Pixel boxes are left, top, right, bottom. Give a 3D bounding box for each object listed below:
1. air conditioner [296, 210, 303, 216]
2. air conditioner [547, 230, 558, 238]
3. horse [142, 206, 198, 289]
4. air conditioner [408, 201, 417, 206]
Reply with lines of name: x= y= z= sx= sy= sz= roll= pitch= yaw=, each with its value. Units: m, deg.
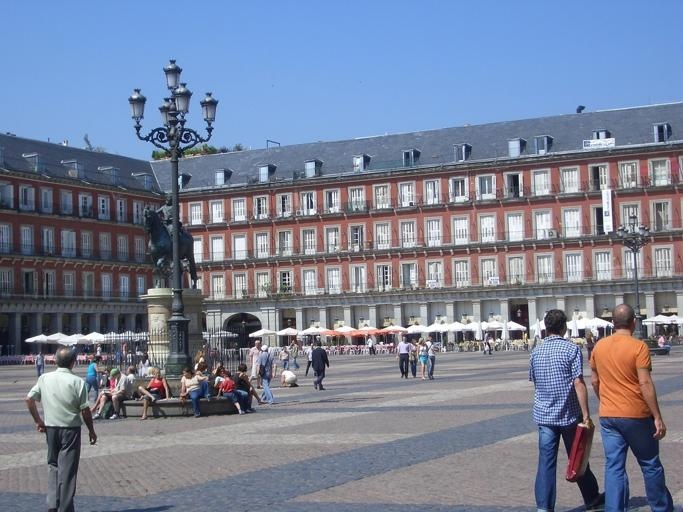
air conditioner: x=-3.278 y=-3.329 z=83.230 sx=0.404 sy=0.402 sz=0.397 roll=1 pitch=-2 yaw=19
air conditioner: x=14.721 y=-1.506 z=75.842 sx=0.596 sy=0.577 sz=0.578 roll=-1 pitch=-10 yaw=1
horse: x=-4.791 y=-0.423 z=29.933 sx=1.221 sy=2.823 sz=0.892 roll=0 pitch=-1 yaw=31
air conditioner: x=5.130 y=-3.857 z=79.545 sx=0.373 sy=0.524 sz=0.368 roll=-1 pitch=4 yaw=-34
